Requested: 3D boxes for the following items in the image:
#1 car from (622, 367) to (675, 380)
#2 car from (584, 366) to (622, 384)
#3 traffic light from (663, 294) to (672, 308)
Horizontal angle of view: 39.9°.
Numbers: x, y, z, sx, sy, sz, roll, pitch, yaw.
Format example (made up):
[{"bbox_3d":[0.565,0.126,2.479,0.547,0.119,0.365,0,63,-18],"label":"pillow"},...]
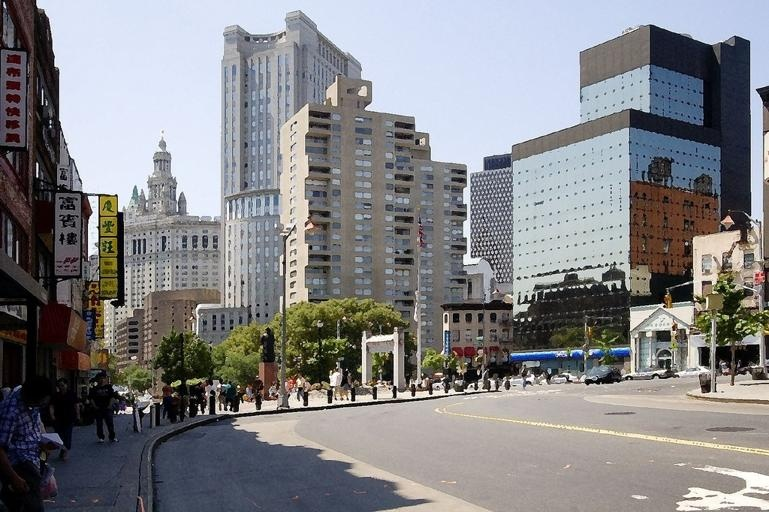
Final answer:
[{"bbox_3d":[26.467,11.991,107.155,5.326,1.195,3.179,-10,-14,40],"label":"car"},{"bbox_3d":[20.882,11.482,102.299,3.136,1.815,3.204,-4,-11,16],"label":"car"},{"bbox_3d":[23.900,3.770,89.785,0.327,1.076,0.776,-6,-11,29],"label":"traffic light"}]
